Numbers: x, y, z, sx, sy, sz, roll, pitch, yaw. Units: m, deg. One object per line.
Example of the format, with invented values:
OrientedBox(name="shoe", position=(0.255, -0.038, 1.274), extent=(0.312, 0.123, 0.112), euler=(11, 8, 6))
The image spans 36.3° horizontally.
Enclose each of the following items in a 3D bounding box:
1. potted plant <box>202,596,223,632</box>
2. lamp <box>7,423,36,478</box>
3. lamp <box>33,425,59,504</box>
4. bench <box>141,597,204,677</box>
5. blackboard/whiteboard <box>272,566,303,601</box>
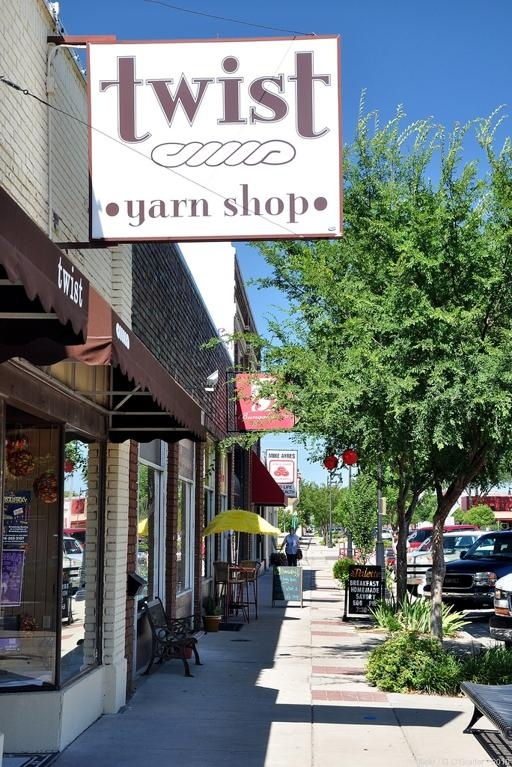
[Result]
OrientedBox(name="potted plant", position=(-0.855, 4.352, 14.857), extent=(0.353, 0.603, 1.198), euler=(-2, -13, -5))
OrientedBox(name="lamp", position=(-1.746, 0.520, 5.776), extent=(0.107, 0.273, 0.178), euler=(1, 7, -2))
OrientedBox(name="lamp", position=(-1.661, 0.657, 6.219), extent=(0.084, 0.583, 0.284), euler=(-5, -12, 13))
OrientedBox(name="bench", position=(-1.136, 3.336, 10.261), extent=(0.570, 0.930, 1.401), euler=(-1, -9, 4))
OrientedBox(name="blackboard/whiteboard", position=(0.750, 4.756, 18.685), extent=(0.849, 1.147, 0.144), euler=(-2, -10, 3))
